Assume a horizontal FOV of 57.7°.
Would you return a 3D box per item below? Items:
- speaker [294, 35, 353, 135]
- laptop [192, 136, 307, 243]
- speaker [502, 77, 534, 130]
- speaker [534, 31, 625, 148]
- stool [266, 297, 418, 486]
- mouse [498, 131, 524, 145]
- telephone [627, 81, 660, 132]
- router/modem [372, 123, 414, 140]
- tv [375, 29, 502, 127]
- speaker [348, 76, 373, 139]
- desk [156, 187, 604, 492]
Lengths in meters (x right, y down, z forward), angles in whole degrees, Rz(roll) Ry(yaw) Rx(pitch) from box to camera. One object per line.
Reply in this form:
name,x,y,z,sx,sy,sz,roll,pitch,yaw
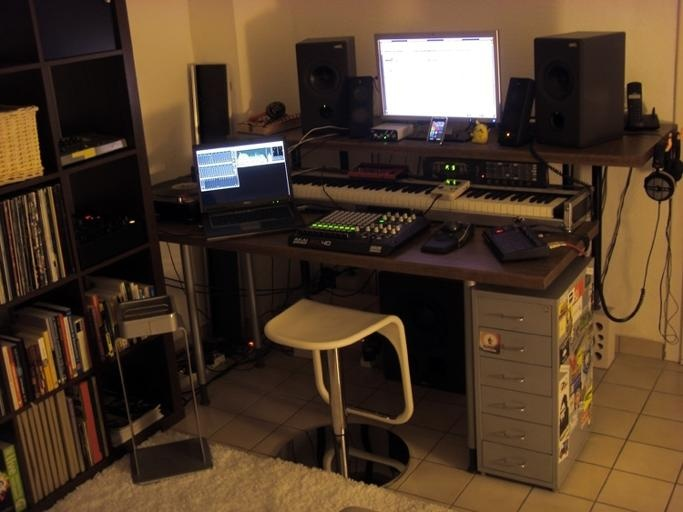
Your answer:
speaker,-0.086,-0.945,3.443,0.309,0.480,0.095,-3,19,-1
laptop,-0.478,-0.349,3.101,0.496,0.350,0.444,-7,29,-10
speaker,0.861,-0.744,3.024,0.155,0.241,0.113,5,20,20
speaker,1.152,-0.804,2.995,0.396,0.501,0.286,-19,21,-39
stool,0.065,0.688,2.743,0.631,0.953,0.560,5,17,31
mouse,0.825,-0.578,3.034,0.109,0.080,0.061,7,-1,37
telephone,1.532,-0.756,3.127,0.169,0.249,0.189,-7,9,-10
router/modem,0.283,-0.682,3.349,0.119,0.049,0.168,11,24,27
tv,0.512,-0.937,3.269,0.683,0.502,0.174,8,30,27
speaker,0.104,-0.811,3.366,0.132,0.313,0.154,-3,19,-1
desk,0.313,0.368,3.307,1.838,0.943,1.074,5,13,36
